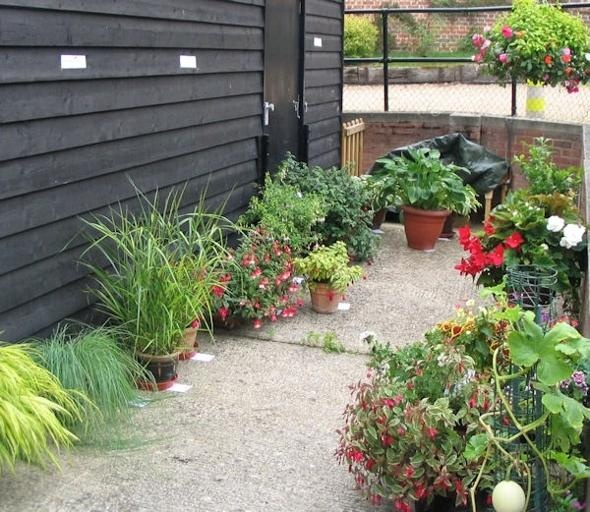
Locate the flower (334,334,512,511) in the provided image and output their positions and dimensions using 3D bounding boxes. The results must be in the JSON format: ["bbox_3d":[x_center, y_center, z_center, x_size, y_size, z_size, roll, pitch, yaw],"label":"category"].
[{"bbox_3d":[0.507,0.721,2.261,0.663,0.751,0.518,3,-10,2],"label":"flower"}]

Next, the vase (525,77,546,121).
[{"bbox_3d":[3.303,-2.193,6.794,0.181,0.196,0.747,-10,-28,23],"label":"vase"}]

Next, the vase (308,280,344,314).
[{"bbox_3d":[0.258,0.329,4.165,0.248,0.212,0.253,-2,8,-30],"label":"vase"}]

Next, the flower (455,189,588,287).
[{"bbox_3d":[1.563,-0.245,3.319,0.657,0.532,0.687,6,20,41],"label":"flower"}]

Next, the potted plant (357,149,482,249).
[{"bbox_3d":[1.484,-0.731,5.963,1.117,1.075,1.184,3,-3,-7],"label":"potted plant"}]

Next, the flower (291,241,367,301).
[{"bbox_3d":[0.329,0.163,4.280,0.544,0.440,0.663,-2,-7,28],"label":"flower"}]

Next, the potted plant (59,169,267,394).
[{"bbox_3d":[-0.817,0.068,3.479,1.097,1.273,1.160,0,10,-6],"label":"potted plant"}]
